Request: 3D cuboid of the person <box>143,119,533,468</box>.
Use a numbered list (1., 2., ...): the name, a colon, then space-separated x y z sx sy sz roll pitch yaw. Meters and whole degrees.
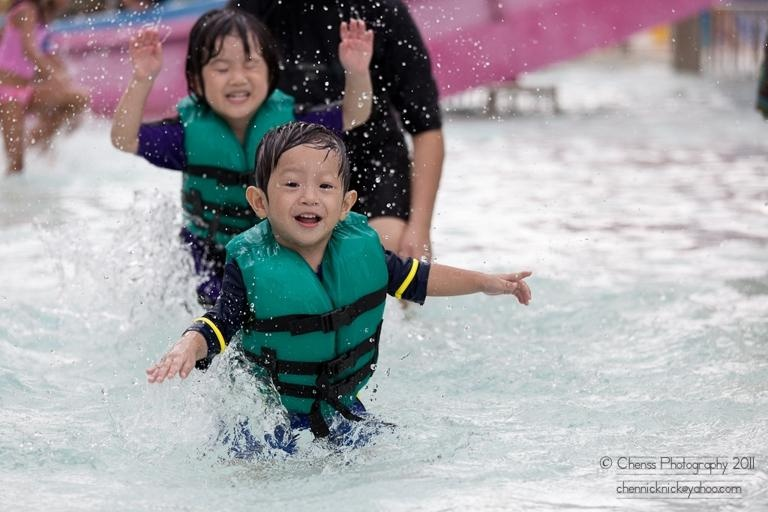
1. person: -0.256 0.116 3.167 1.224 1.189 0.400 -6 11 -16
